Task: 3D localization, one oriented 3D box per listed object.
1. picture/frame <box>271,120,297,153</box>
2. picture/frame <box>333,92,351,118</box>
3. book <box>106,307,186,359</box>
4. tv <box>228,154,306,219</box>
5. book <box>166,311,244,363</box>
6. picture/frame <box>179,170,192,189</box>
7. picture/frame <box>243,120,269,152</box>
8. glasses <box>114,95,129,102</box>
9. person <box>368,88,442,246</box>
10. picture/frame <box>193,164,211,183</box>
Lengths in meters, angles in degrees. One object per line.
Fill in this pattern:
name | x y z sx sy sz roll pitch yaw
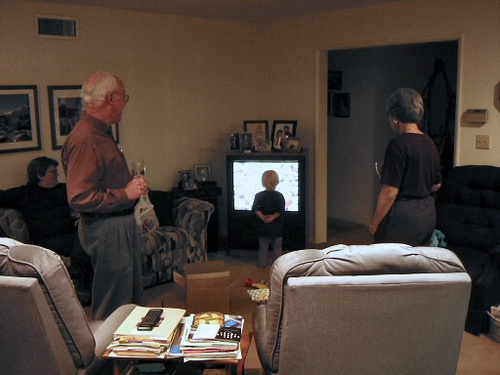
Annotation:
picture/frame | 0.416 -0.604 5.284 0.347 0.557 0.052 0 -10 21
picture/frame | 1.358 -1.215 6.412 0.317 0.481 0.060 4 7 38
book | -0.544 0.765 2.317 0.220 0.062 0.252 0 23 2
tv | 0.212 -0.180 5.297 0.924 0.912 0.539 1 -2 6
book | -0.223 0.787 2.269 0.227 0.080 0.248 1 18 1
picture/frame | -0.800 -0.083 5.350 0.151 0.250 0.128 1 -30 -10
picture/frame | 0.074 -0.615 5.329 0.325 0.507 0.046 2 -11 -5
glasses | -0.885 -0.608 2.987 0.131 0.042 0.138 2 12 2
person | 1.140 -0.128 3.153 0.524 1.141 0.320 -6 10 -19
picture/frame | -0.608 -0.168 5.499 0.168 0.164 0.022 20 -16 -35
